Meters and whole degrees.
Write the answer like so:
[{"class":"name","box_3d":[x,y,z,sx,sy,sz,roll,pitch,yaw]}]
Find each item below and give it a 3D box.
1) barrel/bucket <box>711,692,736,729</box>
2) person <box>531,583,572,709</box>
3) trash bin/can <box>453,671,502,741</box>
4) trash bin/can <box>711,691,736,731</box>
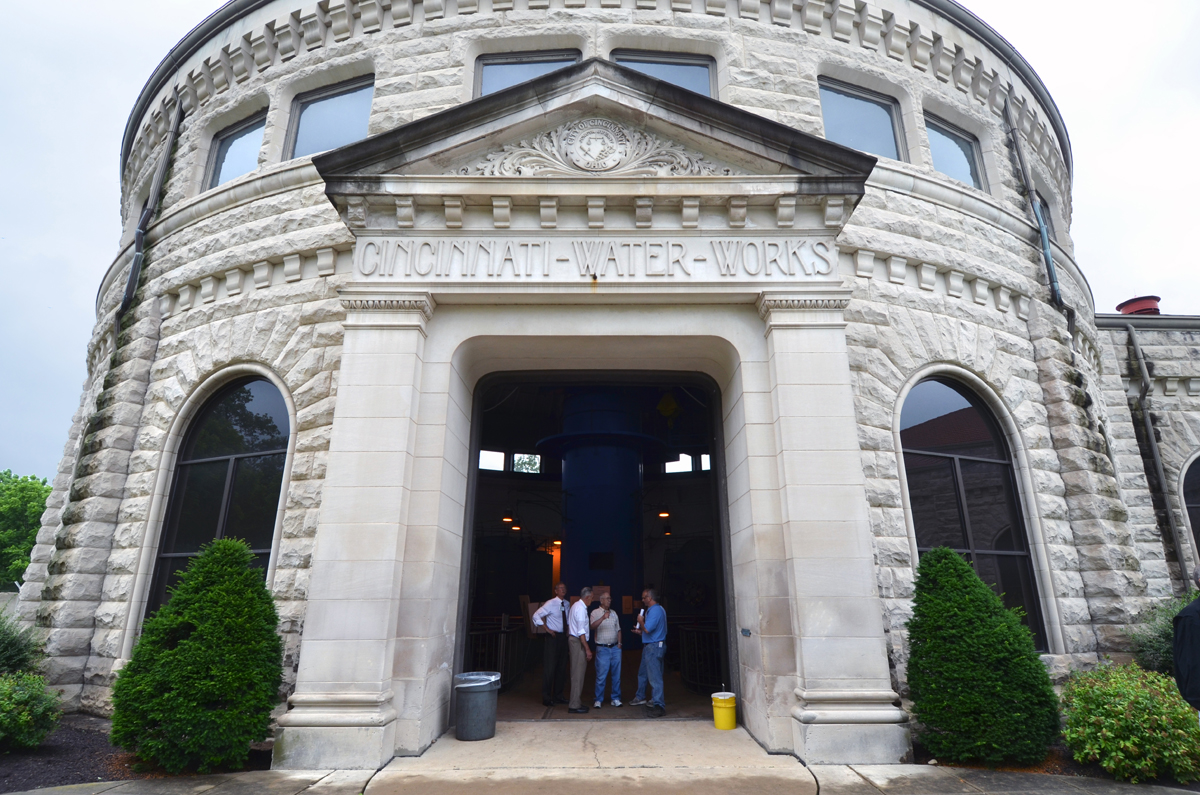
[{"class":"barrel/bucket","box_3d":[2.140,5.786,12.472,0.575,0.510,0.568,-1,-11,0]},{"class":"person","box_3d":[-1.073,5.449,14.928,0.713,2.555,1.234,0,-6,-1]},{"class":"trash bin/can","box_3d":[-2.137,5.549,12.253,1.095,1.023,0.970,0,-15,0]},{"class":"trash bin/can","box_3d":[2.335,5.795,12.533,0.579,0.515,0.571,-6,-12,28]}]
